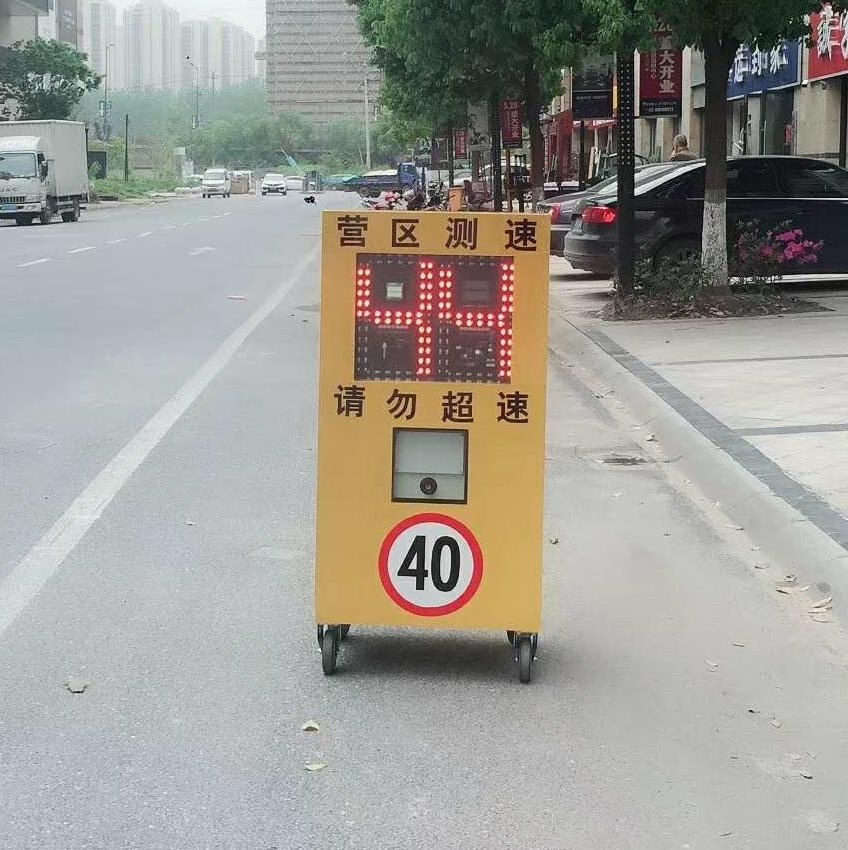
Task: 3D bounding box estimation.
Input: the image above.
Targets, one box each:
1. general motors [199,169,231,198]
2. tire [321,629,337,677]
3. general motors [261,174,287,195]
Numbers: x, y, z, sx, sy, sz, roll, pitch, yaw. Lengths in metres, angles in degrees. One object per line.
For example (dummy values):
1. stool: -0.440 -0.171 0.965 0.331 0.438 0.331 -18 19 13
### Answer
1. general motors: -19.077 -21.940 92.227 1.909 2.581 4.028 0 9 -1
2. tire: -0.331 0.795 3.513 0.058 0.150 0.135 3 -5 -2
3. general motors: -14.704 -23.412 98.587 2.192 2.266 4.875 -1 9 -11
